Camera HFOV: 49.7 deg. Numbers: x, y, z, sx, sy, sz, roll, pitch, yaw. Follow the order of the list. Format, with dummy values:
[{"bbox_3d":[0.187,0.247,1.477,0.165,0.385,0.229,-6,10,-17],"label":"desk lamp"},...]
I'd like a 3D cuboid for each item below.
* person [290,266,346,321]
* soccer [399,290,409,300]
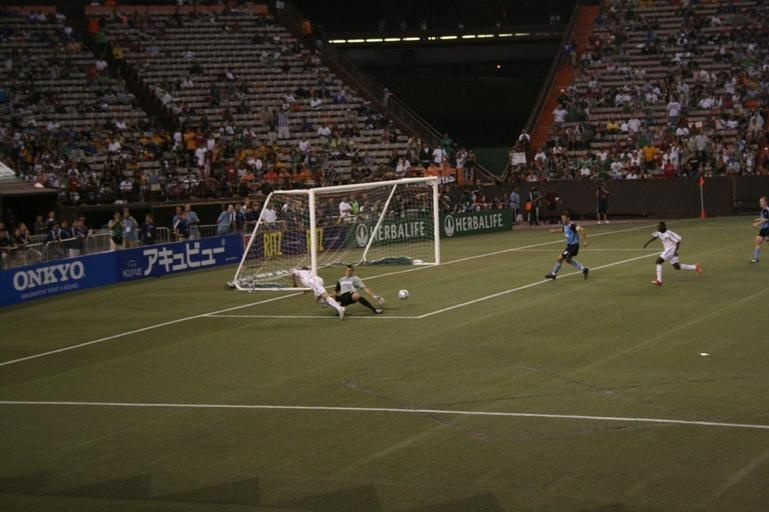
[{"bbox_3d":[-2.069,1.206,26.720,1.063,1.440,2.441,-10,16,-25],"label":"person"},{"bbox_3d":[0.634,1.324,27.502,0.346,0.317,0.333,11,10,4],"label":"soccer"}]
